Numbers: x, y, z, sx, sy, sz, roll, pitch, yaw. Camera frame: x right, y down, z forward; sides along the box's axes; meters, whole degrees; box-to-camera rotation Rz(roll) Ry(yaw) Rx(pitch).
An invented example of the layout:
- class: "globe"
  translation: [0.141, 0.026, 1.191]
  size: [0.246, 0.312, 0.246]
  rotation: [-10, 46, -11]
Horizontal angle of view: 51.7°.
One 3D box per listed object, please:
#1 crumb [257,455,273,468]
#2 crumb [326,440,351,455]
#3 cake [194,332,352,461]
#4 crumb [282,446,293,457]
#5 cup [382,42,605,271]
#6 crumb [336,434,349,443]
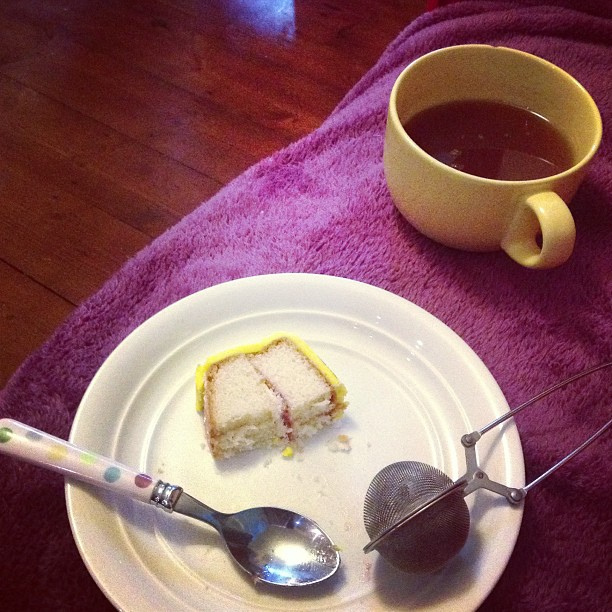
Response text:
- class: "crumb"
  translation: [-0.056, 0.208, 0.850]
  size: [0.013, 0.004, 0.014]
  rotation: [-1, 50, 7]
- class: "crumb"
  translation: [0.045, 0.190, 0.860]
  size: [0.023, 0.006, 0.016]
  rotation: [7, 63, 7]
- class: "cake"
  translation: [-0.053, 0.128, 0.938]
  size: [0.201, 0.081, 0.262]
  rotation: [14, 34, 26]
- class: "crumb"
  translation: [-0.025, 0.197, 0.858]
  size: [0.014, 0.013, 0.013]
  rotation: [28, 81, 7]
- class: "cup"
  translation: [0.265, -0.183, 1.011]
  size: [0.282, 0.201, 0.384]
  rotation: [-8, 61, -6]
- class: "crumb"
  translation: [0.050, 0.179, 0.865]
  size: [0.010, 0.002, 0.010]
  rotation: [3, 64, 0]
